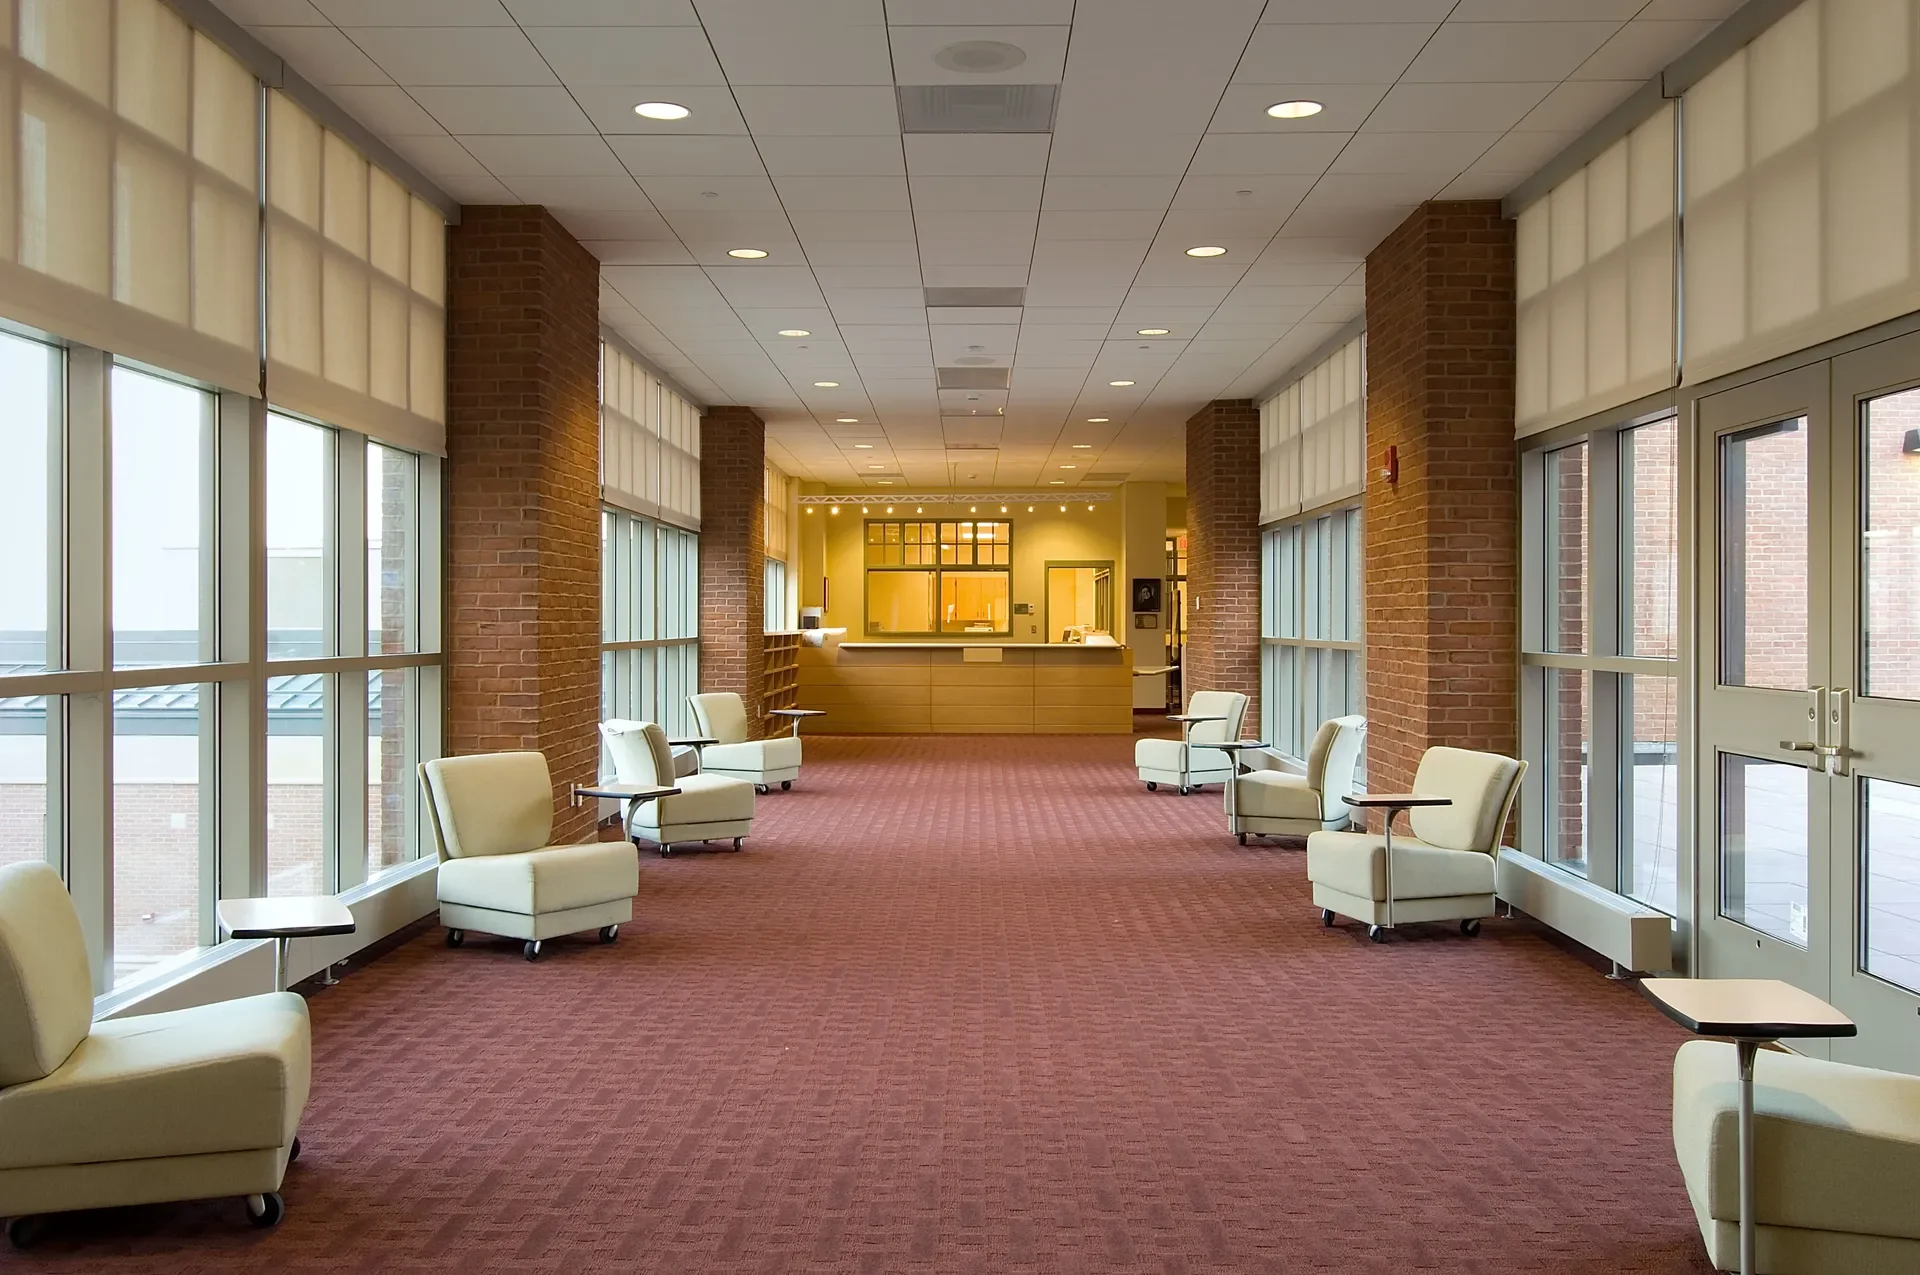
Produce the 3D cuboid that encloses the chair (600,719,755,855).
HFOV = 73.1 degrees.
[{"bbox_3d":[-2.198,1.259,10.800,1.472,1.202,0.974,0,1,-23],"label":"chair"}]

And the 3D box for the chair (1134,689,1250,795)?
[{"bbox_3d":[2.545,1.142,14.238,1.316,1.150,1.079,1,-3,-15],"label":"chair"}]

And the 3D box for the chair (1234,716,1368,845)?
[{"bbox_3d":[2.903,1.252,11.173,1.363,1.210,1.000,1,-1,28],"label":"chair"}]

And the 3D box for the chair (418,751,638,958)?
[{"bbox_3d":[-2.783,1.315,7.963,1.424,1.296,1.065,-2,-3,24],"label":"chair"}]

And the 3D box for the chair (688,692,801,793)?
[{"bbox_3d":[-2.366,1.127,13.984,1.302,1.210,0.987,-1,-2,21],"label":"chair"}]
